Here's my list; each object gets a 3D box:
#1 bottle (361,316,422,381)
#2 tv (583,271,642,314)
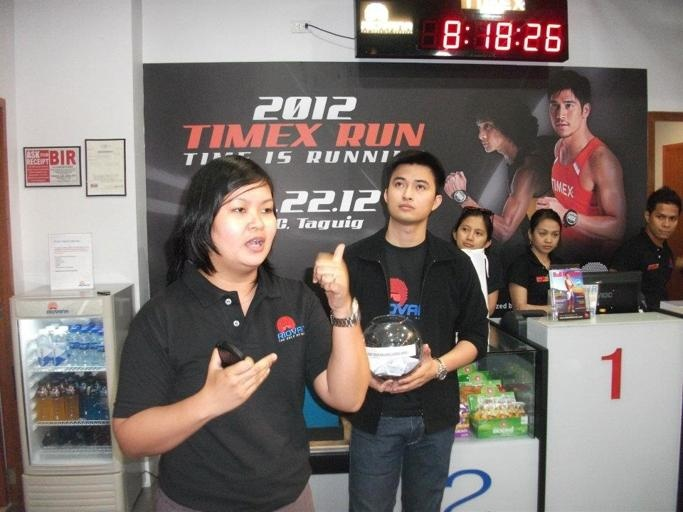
[{"bbox_3d":[0.261,0.460,2.994,0.344,0.275,0.358,-3,14,1],"label":"bottle"},{"bbox_3d":[1.798,0.219,3.724,0.472,0.354,0.251,0,1,-1],"label":"tv"}]
